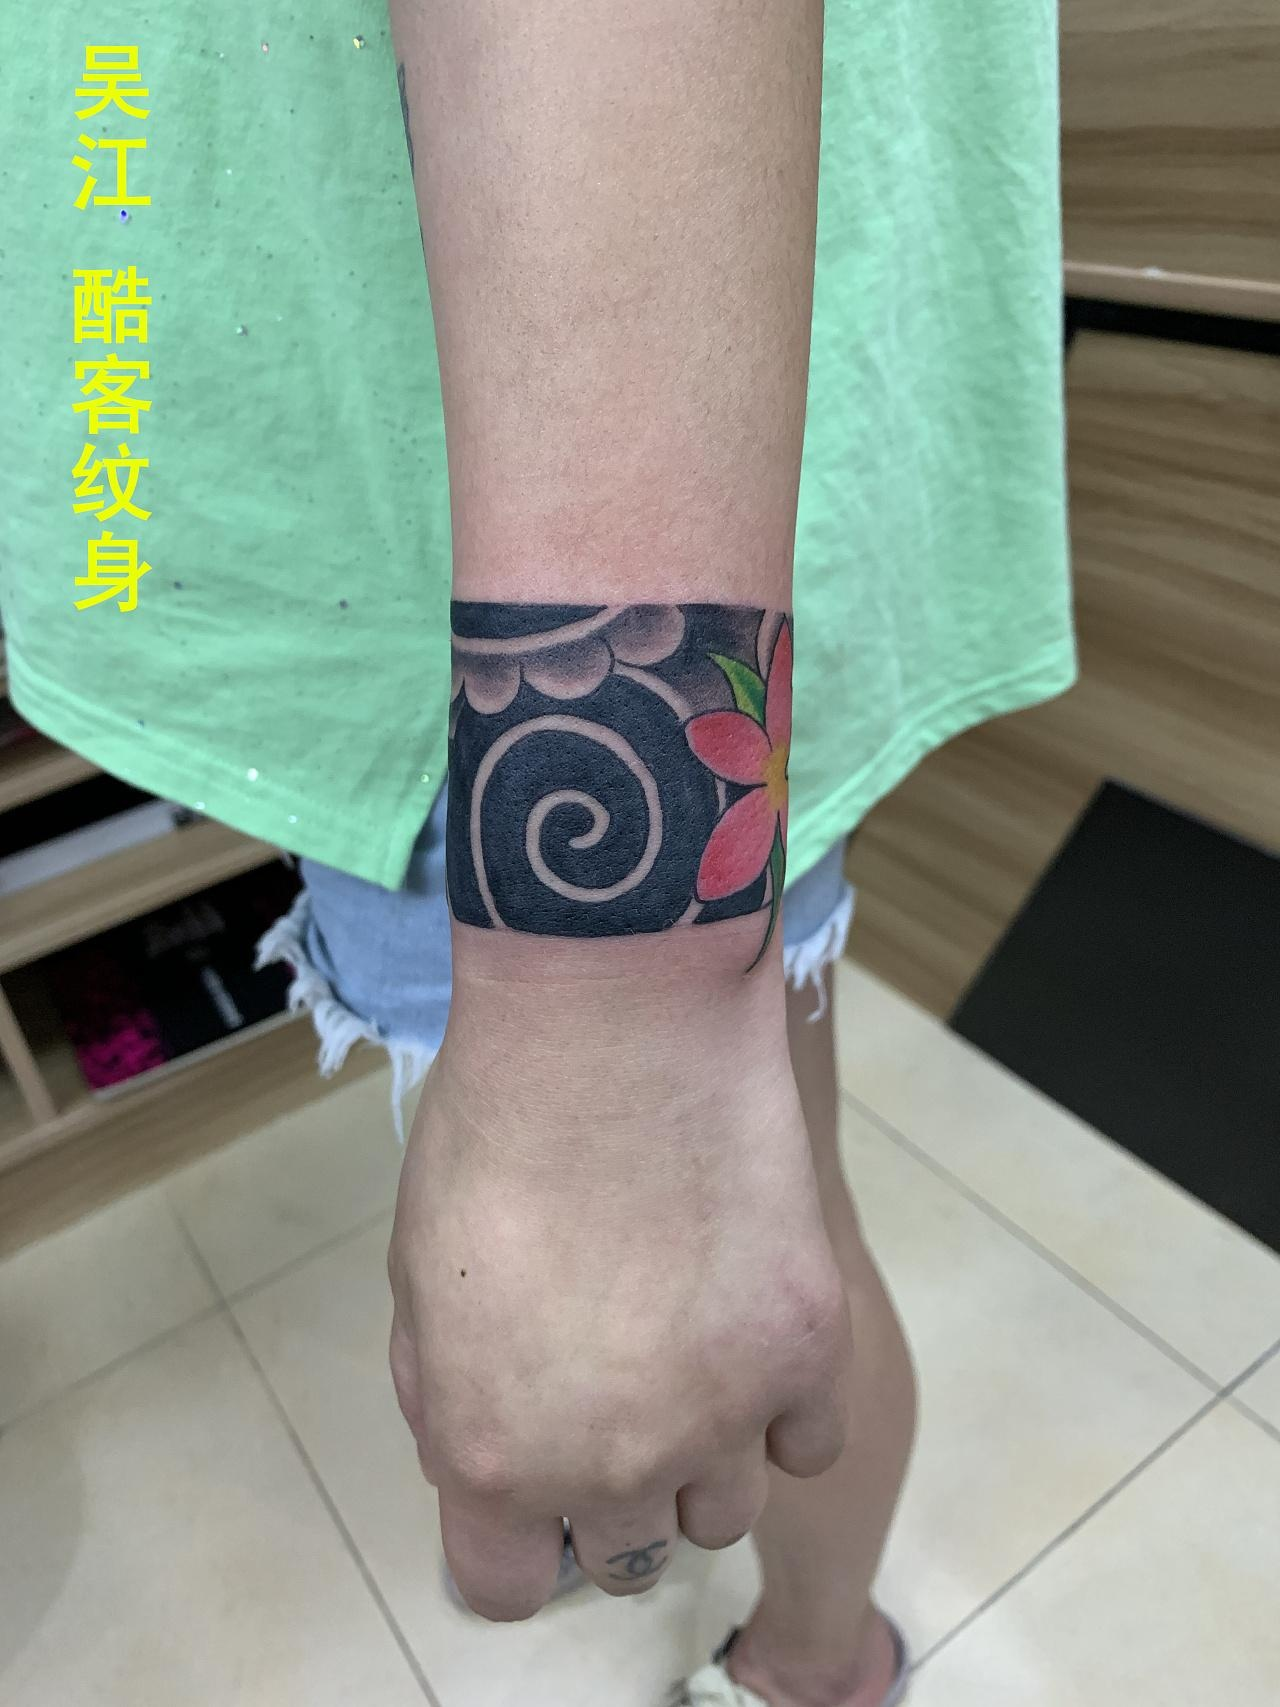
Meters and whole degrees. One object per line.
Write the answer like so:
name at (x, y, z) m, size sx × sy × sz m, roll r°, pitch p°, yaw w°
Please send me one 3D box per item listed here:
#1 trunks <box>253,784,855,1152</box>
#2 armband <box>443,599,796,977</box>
trunks at (-0.057, 0.051, 0.755) m, size 0.228 × 0.236 × 0.088 m, roll -2°, pitch 78°, yaw -8°
armband at (-0.003, -0.052, 0.565) m, size 0.127 × 0.136 × 0.124 m, roll 20°, pitch 33°, yaw 36°
